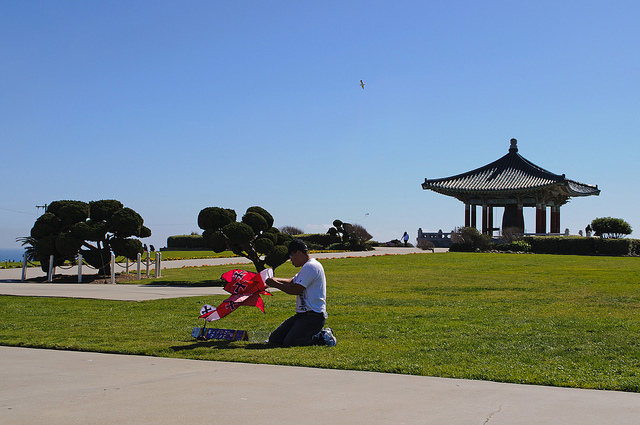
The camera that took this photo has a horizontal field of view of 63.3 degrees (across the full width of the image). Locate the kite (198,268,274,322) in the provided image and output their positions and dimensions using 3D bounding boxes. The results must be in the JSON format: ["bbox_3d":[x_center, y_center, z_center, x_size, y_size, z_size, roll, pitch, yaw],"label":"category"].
[{"bbox_3d":[-1.764,1.761,11.247,1.616,1.055,0.709,-3,-5,18],"label":"kite"}]

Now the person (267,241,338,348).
[{"bbox_3d":[-0.361,1.653,10.667,1.293,2.116,0.737,-1,-5,0],"label":"person"}]
